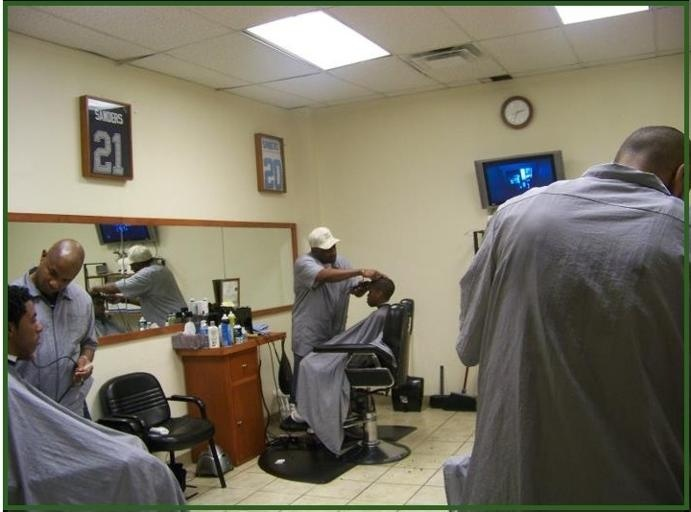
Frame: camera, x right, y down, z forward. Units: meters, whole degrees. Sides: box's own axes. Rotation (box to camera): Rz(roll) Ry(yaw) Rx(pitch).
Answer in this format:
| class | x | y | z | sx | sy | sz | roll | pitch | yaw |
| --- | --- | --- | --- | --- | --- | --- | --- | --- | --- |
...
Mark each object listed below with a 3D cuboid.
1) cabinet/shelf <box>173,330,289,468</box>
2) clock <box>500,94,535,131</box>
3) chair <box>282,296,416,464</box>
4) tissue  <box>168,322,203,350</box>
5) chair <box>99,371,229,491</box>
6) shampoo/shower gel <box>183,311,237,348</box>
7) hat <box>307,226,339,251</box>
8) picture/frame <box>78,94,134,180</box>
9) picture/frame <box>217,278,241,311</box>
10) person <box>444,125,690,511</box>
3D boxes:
| class | x | y | z | sx | sy | sz | roll | pitch | yaw |
| --- | --- | --- | --- | --- | --- | --- | --- | --- | --- |
| cabinet/shelf | -0.787 | 1.048 | 4.045 | 0.397 | 0.838 | 0.853 | -5 | 1 | 18 |
| clock | 1.472 | -1.221 | 4.549 | 0.272 | 0.280 | 0.031 | -12 | 0 | 28 |
| chair | 0.080 | 0.927 | 3.900 | 0.756 | 1.007 | 0.748 | -5 | -12 | 20 |
| tissue  | -1.113 | 0.559 | 3.768 | 0.189 | 0.168 | 0.190 | -3 | -6 | 34 |
| chair | -1.120 | 1.127 | 3.310 | 0.626 | 0.741 | 0.579 | -3 | 3 | 37 |
| shampoo/shower gel | -0.955 | 0.543 | 3.782 | 0.302 | 0.231 | 0.203 | 4 | -9 | -29 |
| hat | -0.190 | -0.108 | 4.086 | 0.223 | 0.126 | 0.166 | -8 | 15 | 41 |
| picture/frame | -1.520 | -0.747 | 3.408 | 0.112 | 0.492 | 0.346 | 2 | 9 | 27 |
| picture/frame | -0.932 | 0.304 | 4.247 | 0.020 | 0.253 | 0.238 | -2 | -5 | 33 |
| person | 0.722 | 0.228 | 1.710 | 0.710 | 1.248 | 0.237 | -2 | 8 | 7 |
